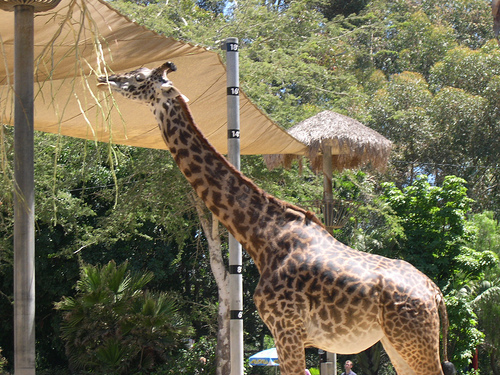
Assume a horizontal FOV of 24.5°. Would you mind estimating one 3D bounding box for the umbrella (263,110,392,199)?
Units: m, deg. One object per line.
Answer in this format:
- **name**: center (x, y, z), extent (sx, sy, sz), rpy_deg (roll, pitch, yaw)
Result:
- **umbrella**: center (2.078, -0.789, 30.846), extent (2.485, 2.002, 2.595), rpy_deg (1, -6, -22)
